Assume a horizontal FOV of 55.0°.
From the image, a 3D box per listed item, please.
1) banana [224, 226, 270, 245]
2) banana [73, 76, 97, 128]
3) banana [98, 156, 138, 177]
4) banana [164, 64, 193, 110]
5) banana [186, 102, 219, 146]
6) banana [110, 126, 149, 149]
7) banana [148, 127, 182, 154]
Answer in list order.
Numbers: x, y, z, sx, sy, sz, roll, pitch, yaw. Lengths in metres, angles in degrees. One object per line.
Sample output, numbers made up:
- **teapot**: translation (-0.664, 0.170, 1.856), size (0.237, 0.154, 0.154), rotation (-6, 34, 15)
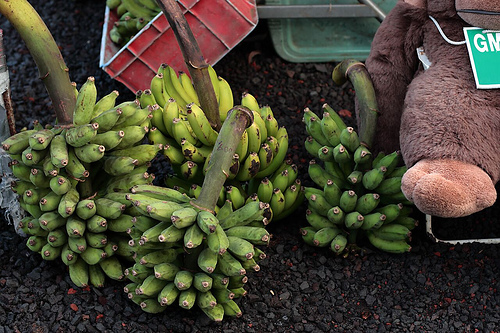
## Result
- **banana**: translation (0.000, 0.257, 1.831), size (0.196, 0.075, 0.063), rotation (-1, 76, 15)
- **banana**: translation (-0.658, -0.233, 1.881), size (0.063, 0.065, 0.214), rotation (20, 104, 41)
- **banana**: translation (-0.497, -0.016, 1.955), size (0.271, 0.097, 0.079), rotation (6, 64, 53)
- **banana**: translation (-0.324, -0.350, 2.155), size (0.063, 0.274, 0.102), rotation (-25, 18, 7)
- **banana**: translation (-0.206, -0.177, 2.032), size (0.144, 0.172, 0.078), rotation (40, 73, 17)
- **banana**: translation (-0.513, -0.125, 1.955), size (0.183, 0.056, 0.066), rotation (-18, 105, 8)
- **banana**: translation (-0.367, -0.115, 2.063), size (0.114, 0.078, 0.039), rotation (23, 85, 34)
